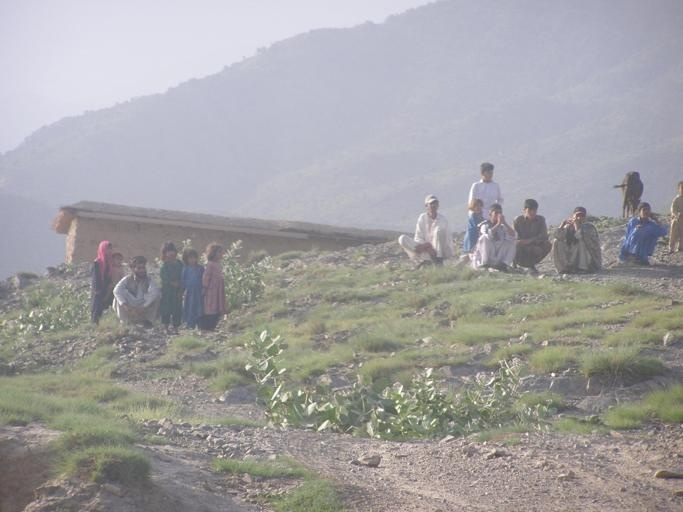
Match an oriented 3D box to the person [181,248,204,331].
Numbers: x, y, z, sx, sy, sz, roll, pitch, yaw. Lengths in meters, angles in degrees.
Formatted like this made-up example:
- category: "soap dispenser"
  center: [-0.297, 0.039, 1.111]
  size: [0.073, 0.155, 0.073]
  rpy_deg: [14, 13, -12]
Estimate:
- category: "person"
  center: [-7.629, 1.681, 56.596]
  size: [0.969, 4.285, 0.854]
  rpy_deg: [-3, 6, -24]
